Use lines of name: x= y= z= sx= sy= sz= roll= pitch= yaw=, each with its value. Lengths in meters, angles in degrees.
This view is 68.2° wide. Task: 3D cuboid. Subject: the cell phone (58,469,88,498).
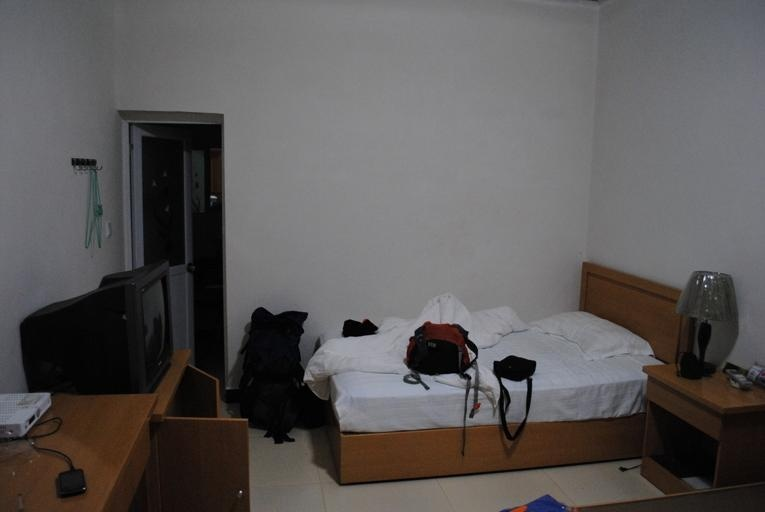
cell phone: x=-1.441 y=1.056 z=2.634 sx=0.112 sy=0.079 sz=0.115 roll=-5 pitch=14 yaw=-26

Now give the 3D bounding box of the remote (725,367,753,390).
remote: x=2.378 y=0.819 z=3.783 sx=0.083 sy=0.048 sz=0.127 roll=-1 pitch=5 yaw=-3

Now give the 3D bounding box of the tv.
tv: x=-1.678 y=0.404 z=3.498 sx=0.741 sy=0.660 sz=0.648 roll=2 pitch=6 yaw=-7

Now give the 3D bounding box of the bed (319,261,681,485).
bed: x=0.990 y=0.800 z=4.505 sx=2.137 sy=1.075 sz=1.527 roll=-2 pitch=8 yaw=-10
